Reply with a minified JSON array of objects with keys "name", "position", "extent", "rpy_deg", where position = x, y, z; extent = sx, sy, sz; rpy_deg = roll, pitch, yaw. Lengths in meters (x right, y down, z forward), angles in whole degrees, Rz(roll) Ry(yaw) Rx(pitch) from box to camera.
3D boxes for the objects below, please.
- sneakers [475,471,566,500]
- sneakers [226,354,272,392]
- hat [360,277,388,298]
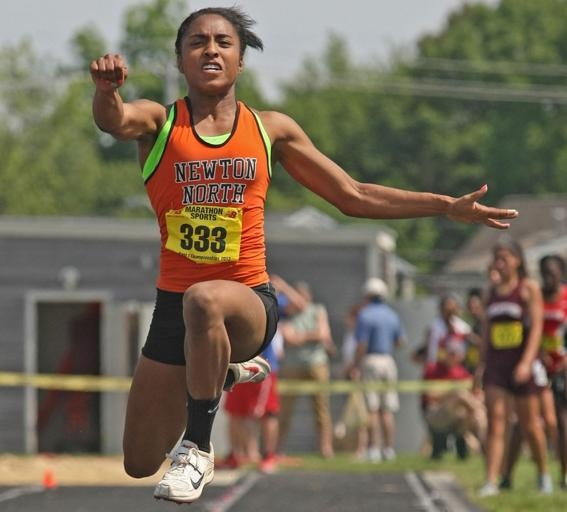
[{"name":"sneakers","position":[1.596,1.575,10.123],"extent":[0.621,0.254,0.186],"rpy_deg":[9,-22,-14]},{"name":"sneakers","position":[-0.225,0.702,8.982],"extent":[0.159,0.123,0.366],"rpy_deg":[-46,-17,31]},{"name":"hat","position":[0.721,0.255,11.525],"extent":[0.137,0.161,0.173],"rpy_deg":[1,3,-4]}]
